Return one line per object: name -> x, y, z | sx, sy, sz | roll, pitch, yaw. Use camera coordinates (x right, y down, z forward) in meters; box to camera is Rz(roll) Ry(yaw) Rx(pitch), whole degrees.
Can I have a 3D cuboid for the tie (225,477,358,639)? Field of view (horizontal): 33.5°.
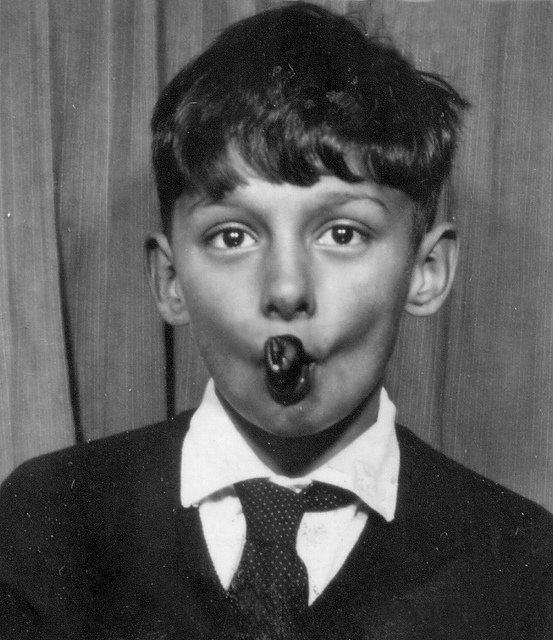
tie -> 0.011, 0.213, 0.800 | 0.105, 0.022, 0.128 | 0, 68, 2
